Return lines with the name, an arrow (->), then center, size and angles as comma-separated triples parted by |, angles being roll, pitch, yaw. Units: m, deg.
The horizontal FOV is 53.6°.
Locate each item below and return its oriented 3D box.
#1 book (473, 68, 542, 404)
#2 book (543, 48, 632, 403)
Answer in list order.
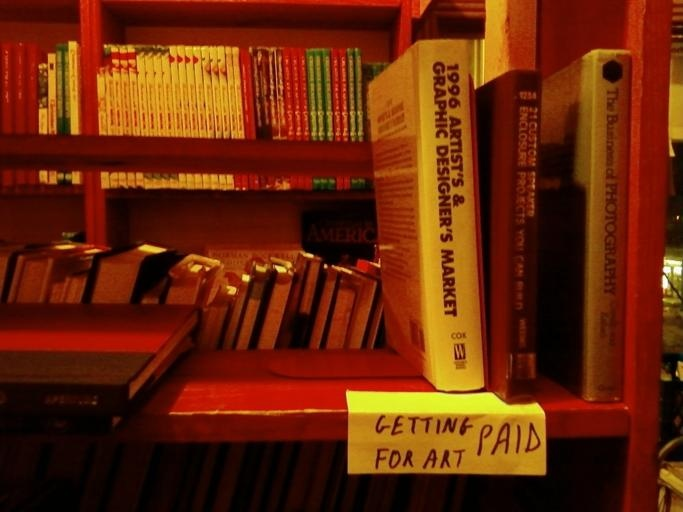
book -> 0.216, -0.026, 0.909 | 0.102, 0.438, 0.071 | 3, -2, 16
book -> 0.327, -0.041, 0.940 | 0.132, 0.472, 0.086 | 3, -2, 34
